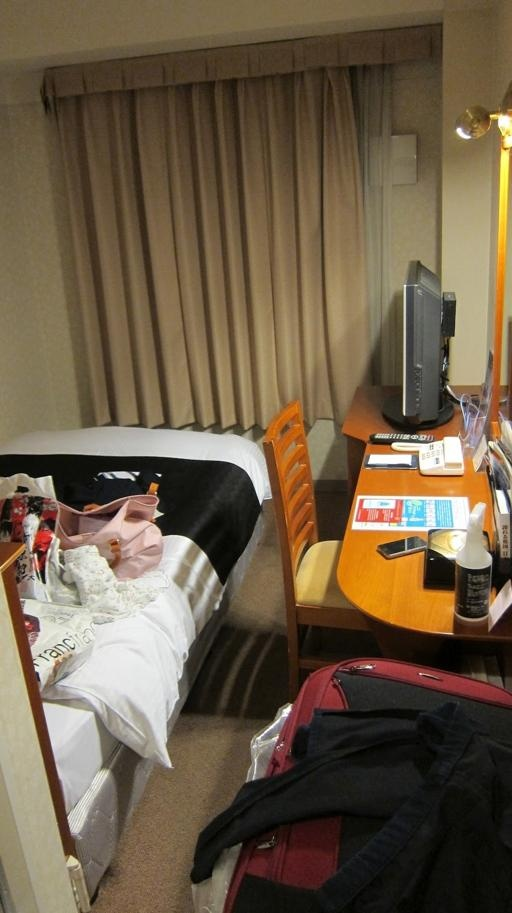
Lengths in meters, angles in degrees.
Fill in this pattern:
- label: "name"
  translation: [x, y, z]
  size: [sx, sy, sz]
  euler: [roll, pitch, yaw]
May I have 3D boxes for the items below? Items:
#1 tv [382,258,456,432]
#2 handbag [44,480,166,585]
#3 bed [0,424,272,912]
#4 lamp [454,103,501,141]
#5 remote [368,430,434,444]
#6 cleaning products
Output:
- label: "tv"
  translation: [0.685, -0.476, 2.542]
  size: [0.252, 0.577, 0.735]
  euler: [1, 23, 11]
- label: "handbag"
  translation: [-0.443, 0.206, 1.995]
  size: [0.247, 0.144, 0.271]
  euler: [3, 15, -17]
- label: "bed"
  translation: [-0.317, 0.589, 2.104]
  size: [0.766, 0.342, 1.363]
  euler: [8, 35, 7]
- label: "lamp"
  translation: [0.705, -1.067, 1.966]
  size: [0.113, 0.082, 0.141]
  euler: [-4, 21, 12]
- label: "remote"
  translation: [0.534, -0.064, 2.233]
  size: [0.160, 0.021, 0.086]
  euler: [0, 18, 3]
- label: "cleaning products"
  translation: [0.412, 0.202, 1.170]
  size: [0.064, 0.238, 0.051]
  euler: [0, 19, 19]
